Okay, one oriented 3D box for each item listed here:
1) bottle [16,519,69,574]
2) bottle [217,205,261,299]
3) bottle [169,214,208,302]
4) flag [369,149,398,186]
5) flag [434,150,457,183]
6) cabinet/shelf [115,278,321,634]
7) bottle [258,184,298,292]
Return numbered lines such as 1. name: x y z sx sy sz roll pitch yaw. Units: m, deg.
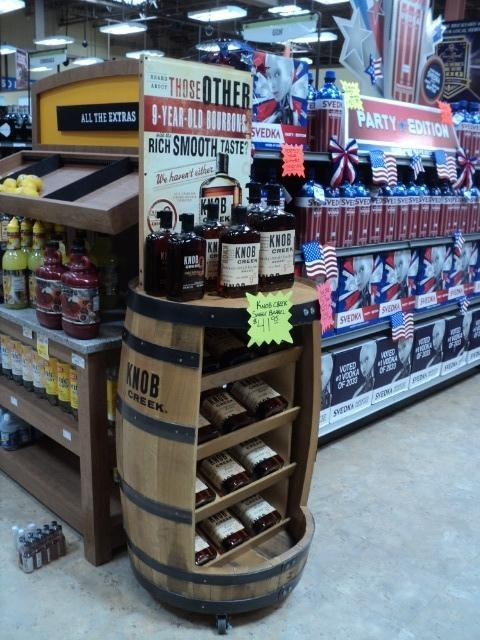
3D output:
1. bottle: -0.733 0.847 1.870 0.064 0.116 0.131 1 7 36
2. bottle: 0.007 -0.186 1.402 0.132 0.248 0.120 3 9 0
3. bottle: -0.154 -0.164 1.326 0.105 0.224 0.110 3 9 0
4. flag: 0.835 -0.891 2.948 0.027 0.221 0.242 4 11 44
5. flag: 1.393 -1.050 3.431 0.209 0.223 0.052 2 -12 -43
6. cabinet/shelf: -0.036 0.406 1.635 0.472 1.047 0.648 12 13 44
7. bottle: 0.116 -0.246 1.533 0.086 0.313 0.216 10 12 37
